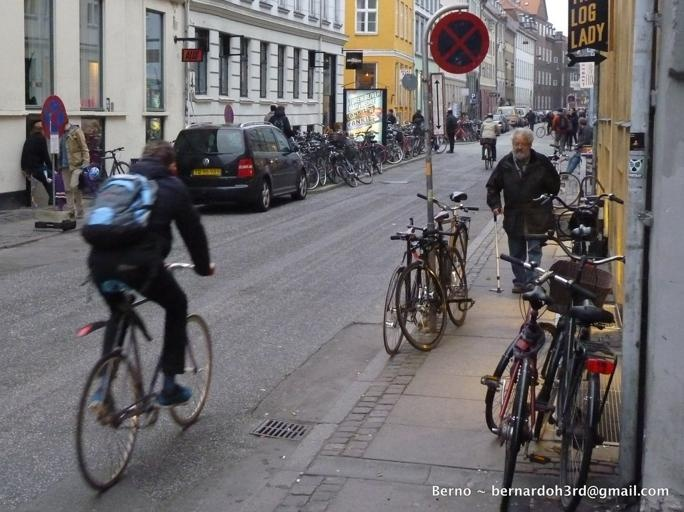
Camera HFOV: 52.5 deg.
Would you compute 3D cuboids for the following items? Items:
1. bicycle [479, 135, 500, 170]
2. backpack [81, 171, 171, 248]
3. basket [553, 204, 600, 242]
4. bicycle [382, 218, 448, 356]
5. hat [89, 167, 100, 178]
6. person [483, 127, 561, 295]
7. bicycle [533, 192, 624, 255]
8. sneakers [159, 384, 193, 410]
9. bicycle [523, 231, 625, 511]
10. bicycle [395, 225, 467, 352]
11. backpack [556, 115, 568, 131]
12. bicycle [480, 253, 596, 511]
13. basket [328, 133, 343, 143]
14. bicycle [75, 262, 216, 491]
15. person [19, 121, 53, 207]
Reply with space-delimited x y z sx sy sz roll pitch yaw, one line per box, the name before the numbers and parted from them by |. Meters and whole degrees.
bicycle | 6.920 -4.864 32.416 0.700 1.065 1.612 0 4 10
backpack | -1.474 -0.318 4.622 0.393 0.425 0.545 -2 12 6
basket | 2.928 -0.423 8.660 0.432 0.364 0.346 1 12 8
bicycle | 0.758 0.328 7.355 0.448 1.317 1.159 2 13 29
hat | -7.444 -2.518 20.868 0.140 0.296 0.269 5 25 35
person | 2.232 -0.526 8.575 0.885 2.102 0.824 -3 8 -15
bicycle | 3.120 -0.427 9.061 0.735 0.876 1.335 -1 9 3
sneakers | -1.215 0.993 5.079 0.106 0.129 0.262 43 24 18
bicycle | 1.508 0.695 4.519 0.521 1.408 1.756 1 13 20
bicycle | 1.013 0.347 7.670 0.636 0.985 1.398 -1 5 22
backpack | 10.736 -6.508 33.514 0.428 0.759 0.710 1 2 2
bicycle | 1.301 0.734 4.282 0.621 0.983 1.514 9 7 8
basket | -0.216 -4.539 26.620 0.560 0.361 0.965 -4 13 -1
bicycle | -1.152 0.768 4.909 0.670 1.114 1.640 2 11 14
person | -7.934 -2.390 18.022 0.722 2.136 0.502 -7 11 -22
